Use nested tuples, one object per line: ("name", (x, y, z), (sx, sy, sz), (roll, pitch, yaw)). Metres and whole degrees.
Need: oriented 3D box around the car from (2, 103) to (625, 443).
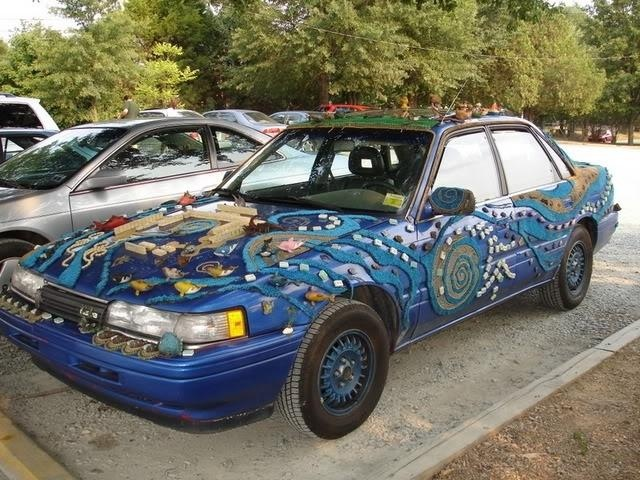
("car", (0.767, -0.094, 3.925), (5.301, 1.274, 2.399), (-9, 19, -33))
